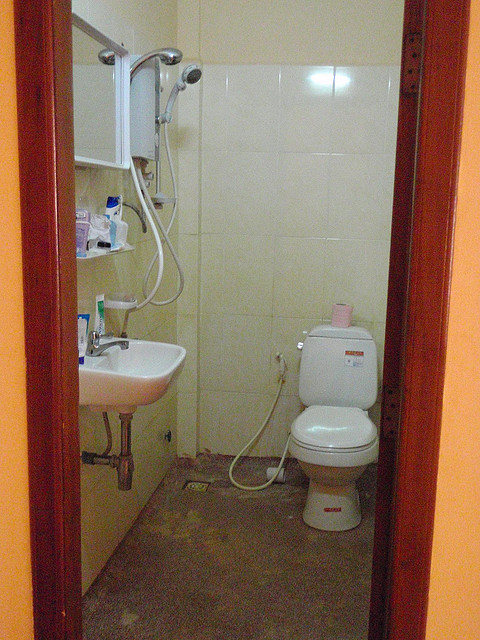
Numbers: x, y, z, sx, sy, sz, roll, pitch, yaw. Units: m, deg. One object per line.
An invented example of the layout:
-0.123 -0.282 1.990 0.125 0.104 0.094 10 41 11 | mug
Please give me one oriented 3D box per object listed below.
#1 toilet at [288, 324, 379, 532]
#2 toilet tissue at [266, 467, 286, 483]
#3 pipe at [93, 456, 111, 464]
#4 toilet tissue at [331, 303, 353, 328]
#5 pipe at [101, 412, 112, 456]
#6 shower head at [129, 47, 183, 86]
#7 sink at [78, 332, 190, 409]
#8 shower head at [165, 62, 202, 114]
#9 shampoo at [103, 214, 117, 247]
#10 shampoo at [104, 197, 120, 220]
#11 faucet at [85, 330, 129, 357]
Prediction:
0.434 0.474 2.498 0.309 0.852 0.692 2 7 14 | toilet
0.176 0.749 2.723 0.069 0.076 0.066 0 19 1 | toilet tissue
-0.422 0.423 1.677 0.054 0.021 0.013 0 7 -27 | pipe
0.488 -0.020 2.684 0.085 0.121 0.103 1 7 -16 | toilet tissue
-0.430 0.364 1.768 0.027 0.157 0.184 -1 9 -12 | pipe
-0.297 -0.889 1.901 0.157 0.147 0.198 -3 10 -20 | shower head
-0.342 0.182 1.710 0.276 0.157 0.463 6 8 -2 | sink
-0.223 -0.844 2.037 0.071 0.211 0.067 13 -10 30 | shower head
-0.380 -0.256 1.600 0.045 0.099 0.052 -16 36 -38 | shampoo
-0.395 -0.341 1.691 0.030 0.093 0.034 3 2 1 | shampoo
-0.411 0.074 1.755 0.133 0.113 0.053 1 6 3 | faucet
